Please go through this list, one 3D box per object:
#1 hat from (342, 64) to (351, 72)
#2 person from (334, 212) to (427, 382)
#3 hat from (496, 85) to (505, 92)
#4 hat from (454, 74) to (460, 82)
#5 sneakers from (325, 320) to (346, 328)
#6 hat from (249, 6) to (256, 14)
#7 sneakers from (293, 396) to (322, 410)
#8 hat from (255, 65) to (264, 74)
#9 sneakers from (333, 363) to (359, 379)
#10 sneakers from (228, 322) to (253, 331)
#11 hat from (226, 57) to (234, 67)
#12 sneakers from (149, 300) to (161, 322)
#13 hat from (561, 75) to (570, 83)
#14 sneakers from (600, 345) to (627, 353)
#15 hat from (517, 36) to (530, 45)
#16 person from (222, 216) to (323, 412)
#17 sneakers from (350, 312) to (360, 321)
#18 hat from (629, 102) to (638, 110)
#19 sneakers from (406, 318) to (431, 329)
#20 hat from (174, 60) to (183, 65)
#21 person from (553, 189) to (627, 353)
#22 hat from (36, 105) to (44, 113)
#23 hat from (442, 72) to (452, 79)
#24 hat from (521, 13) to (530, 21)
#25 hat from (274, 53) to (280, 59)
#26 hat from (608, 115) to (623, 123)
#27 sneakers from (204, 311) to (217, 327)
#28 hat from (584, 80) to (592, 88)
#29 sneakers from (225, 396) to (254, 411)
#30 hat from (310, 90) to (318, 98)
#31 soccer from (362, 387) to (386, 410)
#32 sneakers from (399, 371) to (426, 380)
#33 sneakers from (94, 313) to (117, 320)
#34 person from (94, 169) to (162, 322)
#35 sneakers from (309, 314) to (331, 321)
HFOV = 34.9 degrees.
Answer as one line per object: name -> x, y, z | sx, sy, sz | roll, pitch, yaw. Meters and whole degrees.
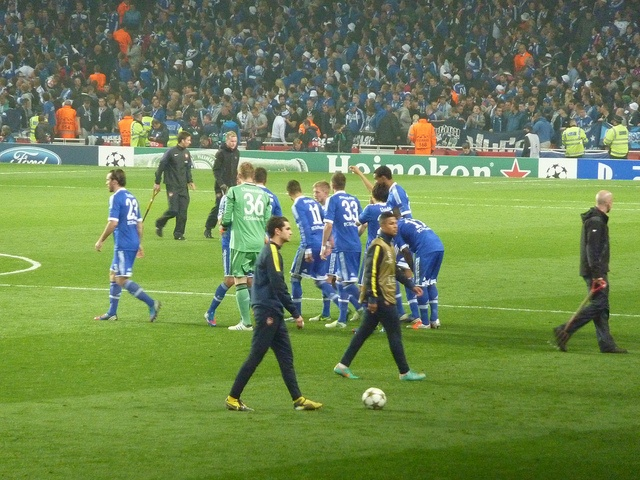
hat -> 1.046, -7.018, 41.536 | 0.267, 0.298, 0.334 | 2, 36, -4
person -> 0.709, 0.691, 12.030 | 1.002, 2.007, 0.430 | 1, 5, 0
hat -> 6.666, -5.620, 37.803 | 0.315, 0.238, 0.237 | -2, 11, 6
hat -> 5.141, -6.173, 38.787 | 0.229, 0.268, 0.249 | -1, 0, 1
sneakers -> 0.208, 1.226, 14.696 | 0.309, 0.115, 0.107 | 2, -3, 8
hat -> -3.104, -10.554, 46.603 | 0.322, 0.395, 0.406 | -5, 9, -25
sneakers -> -0.155, 1.821, 11.288 | 0.346, 0.161, 0.125 | -2, 8, -1
hat -> -2.547, -7.111, 42.449 | 0.337, 0.327, 0.249 | -13, 29, 0
sneakers -> 0.280, 1.587, 12.244 | 0.338, 0.139, 0.129 | 27, 15, -17
sneakers -> -1.111, 1.222, 14.343 | 0.356, 0.135, 0.125 | 2, 1, 12
hat -> -3.864, -7.636, 43.499 | 0.360, 0.344, 0.446 | 1, 10, -4
sneakers -> -2.375, 1.035, 14.694 | 0.172, 0.330, 0.115 | 9, 19, 2
hat -> 8.941, -5.910, 37.273 | 0.271, 0.299, 0.352 | 1, 5, 1
sneakers -> 3.775, 1.436, 13.218 | 0.334, 0.132, 0.111 | -2, 2, 3
hat -> 7.781, -7.745, 39.402 | 0.453, 0.341, 0.430 | 1, -1, 6
person -> -0.540, 0.828, 11.263 | 0.993, 2.121, 0.431 | 0, 5, -6
sneakers -> 0.503, 1.156, 15.086 | 0.200, 0.143, 0.077 | -10, -13, 38
hat -> 10.595, -4.536, 34.601 | 0.271, 0.277, 0.150 | 2, 5, 14
sneakers -> 1.405, 1.226, 14.635 | 0.369, 0.141, 0.124 | 0, -2, 21
hat -> -6.253, -7.831, 44.780 | 0.303, 0.120, 0.294 | -4, 6, -40
person -> 3.566, 0.419, 13.390 | 0.933, 2.111, 0.726 | 2, 5, 15
hat -> -11.922, -5.565, 43.268 | 0.330, 0.299, 0.327 | 0, 4, 15
hat -> 4.794, -6.304, 38.901 | 0.318, 0.153, 0.233 | 34, 24, 5
hat -> 8.012, -8.780, 39.970 | 0.314, 0.332, 0.308 | 1, 5, 6
hat -> -1.828, -7.610, 42.144 | 0.273, 0.184, 0.264 | 5, 15, 6
hat -> 9.874, -4.037, 34.096 | 0.127, 0.296, 0.504 | -1, 5, -21
sneakers -> -1.572, 1.155, 14.533 | 0.122, 0.256, 0.092 | -28, 3, 13
hat -> 9.664, -5.646, 36.729 | 0.345, 0.323, 0.079 | 3, 7, -33
sneakers -> -0.908, 1.819, 11.236 | 0.360, 0.154, 0.120 | 9, 2, -9
hat -> -0.295, -5.658, 39.372 | 0.263, 0.167, 0.351 | 4, 6, 7
soccer -> 0.614, 1.774, 11.326 | 0.314, 0.224, 0.241 | -1, 5, -14
sneakers -> 1.082, 1.632, 12.144 | 0.316, 0.128, 0.112 | -2, 3, -3
sneakers -> -3.093, 1.123, 14.707 | 0.315, 0.124, 0.110 | 3, -1, -3
person -> -2.857, 0.070, 14.886 | 0.863, 2.189, 1.016 | -1, 5, -13
sneakers -> -0.005, 1.170, 15.108 | 0.319, 0.121, 0.111 | 3, -3, 4
